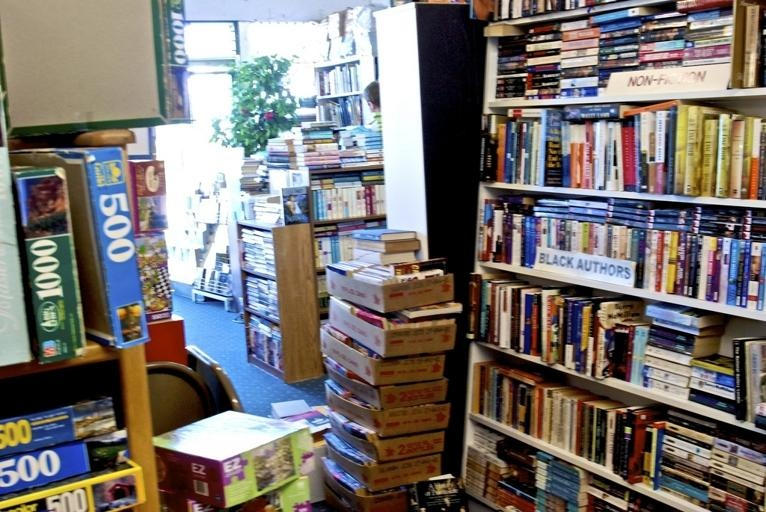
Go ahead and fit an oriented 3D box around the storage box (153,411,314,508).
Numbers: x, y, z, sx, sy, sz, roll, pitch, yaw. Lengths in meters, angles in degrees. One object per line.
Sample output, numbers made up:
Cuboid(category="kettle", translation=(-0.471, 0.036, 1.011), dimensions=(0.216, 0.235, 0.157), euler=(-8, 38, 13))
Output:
Cuboid(category="storage box", translation=(-0.482, 0.607, 2.004), dimensions=(0.409, 0.105, 0.410), euler=(1, 4, 38))
